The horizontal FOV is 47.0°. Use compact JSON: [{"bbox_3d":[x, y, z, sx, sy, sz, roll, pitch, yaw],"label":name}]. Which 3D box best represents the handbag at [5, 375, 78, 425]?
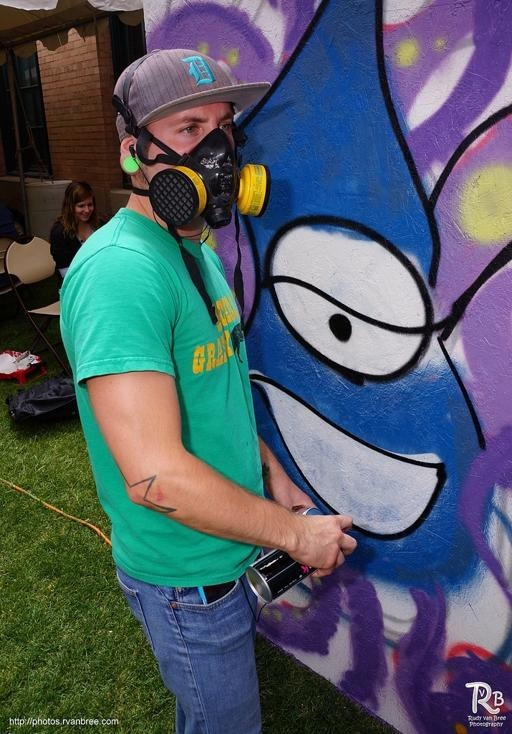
[{"bbox_3d":[-1.522,0.246,4.201,0.461,0.160,0.451,-16,15,-13],"label":"handbag"}]

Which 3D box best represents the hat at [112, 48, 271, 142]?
[{"bbox_3d":[-0.121,-0.527,1.131,0.220,0.133,0.274,-15,9,-23],"label":"hat"}]
